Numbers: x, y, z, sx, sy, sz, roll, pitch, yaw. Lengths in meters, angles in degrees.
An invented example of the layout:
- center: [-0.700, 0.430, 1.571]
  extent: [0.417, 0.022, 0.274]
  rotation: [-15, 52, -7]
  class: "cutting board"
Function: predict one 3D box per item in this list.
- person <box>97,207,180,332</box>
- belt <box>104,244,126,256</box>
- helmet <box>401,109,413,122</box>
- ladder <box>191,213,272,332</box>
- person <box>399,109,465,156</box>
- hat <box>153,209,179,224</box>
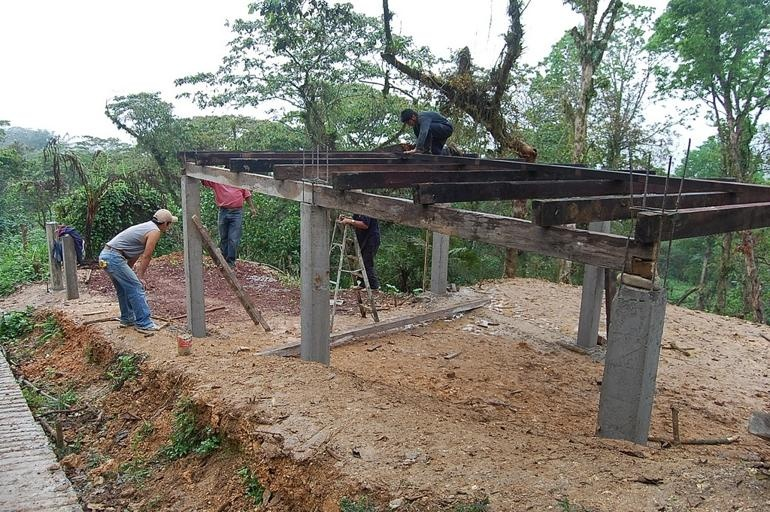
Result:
- center: [-4.945, 0.317, 12.006]
  extent: [1.297, 2.418, 0.847]
  rotation: [-6, 11, -20]
  class: "person"
- center: [-5.292, -0.107, 11.821]
  extent: [0.242, 0.063, 0.241]
  rotation: [19, 1, 13]
  class: "belt"
- center: [0.510, -3.309, 14.013]
  extent: [0.266, 0.313, 0.327]
  rotation: [6, -23, -3]
  class: "helmet"
- center: [-3.827, 0.477, 15.005]
  extent: [0.422, 3.572, 0.417]
  rotation: [-17, 21, 32]
  class: "ladder"
- center: [1.033, -2.887, 13.958]
  extent: [1.530, 1.121, 1.057]
  rotation: [5, 7, 8]
  class: "person"
- center: [-4.400, -0.791, 12.183]
  extent: [0.311, 0.260, 0.451]
  rotation: [35, 25, 32]
  class: "hat"
